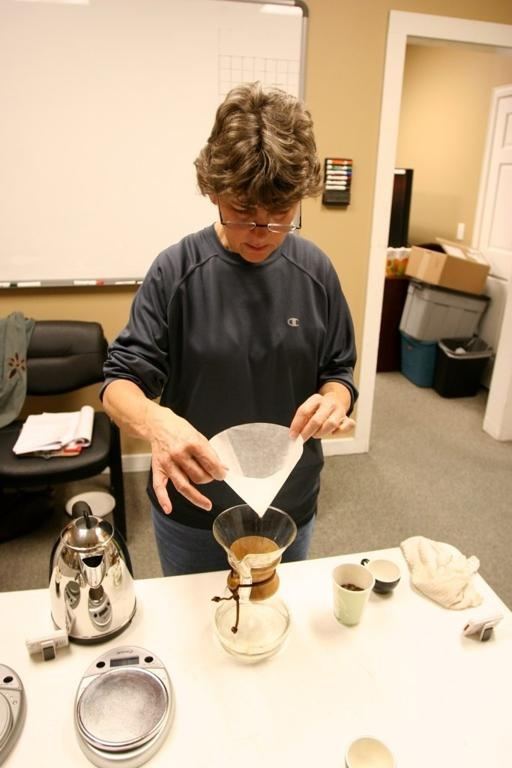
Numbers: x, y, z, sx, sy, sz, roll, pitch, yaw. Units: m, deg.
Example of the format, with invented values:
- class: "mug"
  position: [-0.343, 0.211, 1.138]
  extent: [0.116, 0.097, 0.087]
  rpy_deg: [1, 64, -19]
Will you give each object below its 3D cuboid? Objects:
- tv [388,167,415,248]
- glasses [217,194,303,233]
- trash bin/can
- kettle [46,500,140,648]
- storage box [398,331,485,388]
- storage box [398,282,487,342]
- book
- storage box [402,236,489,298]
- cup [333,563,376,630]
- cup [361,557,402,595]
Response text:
- class: "tv"
  position: [1.224, -1.471, 4.692]
  extent: [0.337, 0.622, 0.143]
  rpy_deg: [-11, 19, -41]
- class: "glasses"
  position: [0.008, -0.295, 0.999]
  extent: [0.158, 0.047, 0.105]
  rpy_deg: [-1, 16, -13]
- class: "trash bin/can"
  position: [1.487, -0.111, 3.998]
  extent: [0.393, 0.414, 0.375]
  rpy_deg: [5, 15, 12]
- class: "kettle"
  position: [-0.249, 0.295, 0.971]
  extent: [0.131, 0.213, 0.220]
  rpy_deg: [-4, 23, -12]
- class: "storage box"
  position: [1.382, -0.216, 4.239]
  extent: [0.446, 0.368, 0.379]
  rpy_deg: [-3, 21, -12]
- class: "storage box"
  position: [1.405, -0.532, 4.110]
  extent: [0.489, 0.389, 0.416]
  rpy_deg: [3, 26, -36]
- class: "book"
  position: [-0.802, 0.186, 2.225]
  extent: [0.281, 0.097, 0.348]
  rpy_deg: [-1, 16, -13]
- class: "storage box"
  position: [1.354, -0.842, 3.982]
  extent: [0.443, 0.312, 0.432]
  rpy_deg: [9, 22, -33]
- class: "cup"
  position: [0.161, 0.358, 0.978]
  extent: [0.079, 0.101, 0.097]
  rpy_deg: [0, 30, -1]
- class: "cup"
  position: [0.241, 0.356, 1.058]
  extent: [0.051, 0.035, 0.086]
  rpy_deg: [-5, 18, -14]
